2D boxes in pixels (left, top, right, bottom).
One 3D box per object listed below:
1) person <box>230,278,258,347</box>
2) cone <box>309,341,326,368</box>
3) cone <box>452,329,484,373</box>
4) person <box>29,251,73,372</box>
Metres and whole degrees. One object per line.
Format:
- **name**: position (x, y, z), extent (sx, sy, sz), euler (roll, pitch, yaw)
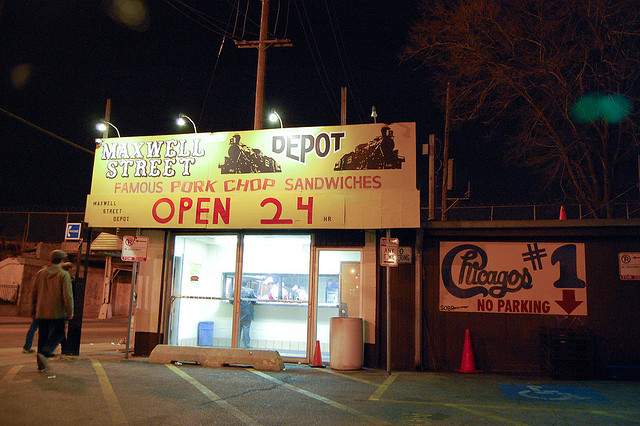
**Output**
- **person**: position (-2.420, 3.253, 17.224), extent (0.604, 2.194, 0.470), euler (7, -14, -25)
- **cone**: position (-0.068, 4.384, 16.411), extent (0.661, 0.908, 0.661), euler (-4, -8, 21)
- **cone**: position (4.334, 4.101, 15.516), extent (0.664, 1.028, 0.676), euler (-2, 0, 20)
- **person**: position (-6.931, 2.461, 13.348), extent (1.170, 2.962, 1.035), euler (3, 0, 14)
